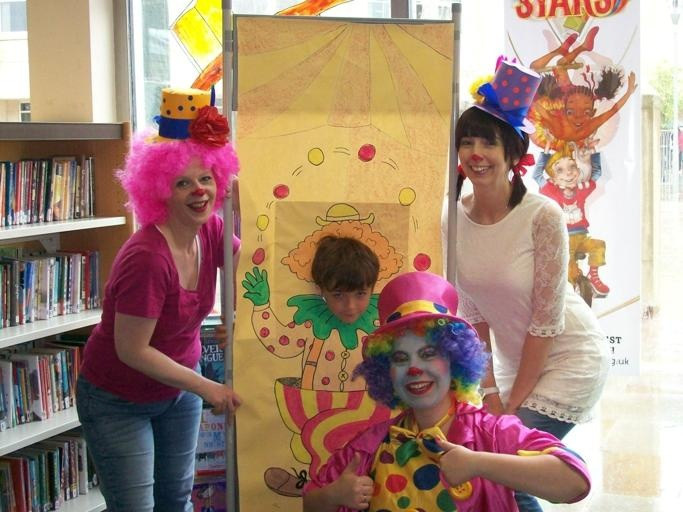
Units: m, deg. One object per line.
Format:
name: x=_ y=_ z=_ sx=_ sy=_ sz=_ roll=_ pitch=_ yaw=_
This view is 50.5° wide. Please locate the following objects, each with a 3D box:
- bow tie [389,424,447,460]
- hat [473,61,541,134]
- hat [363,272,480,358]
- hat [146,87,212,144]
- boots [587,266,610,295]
bow tie: x=0.204 y=0.517 z=2.010 sx=0.156 sy=0.092 sz=0.072 roll=2 pitch=2 yaw=10
hat: x=0.550 y=-0.548 z=2.411 sx=0.247 sy=0.155 sz=0.218 roll=-22 pitch=61 yaw=-41
hat: x=0.244 y=0.227 z=2.113 sx=0.254 sy=0.143 sz=0.262 roll=-26 pitch=-39 yaw=31
hat: x=-0.526 y=-0.474 z=2.367 sx=0.177 sy=0.143 sz=0.136 roll=-1 pitch=12 yaw=-11
boots: x=1.167 y=0.109 z=3.296 sx=0.040 sy=0.087 sz=0.125 roll=-16 pitch=46 yaw=-33
